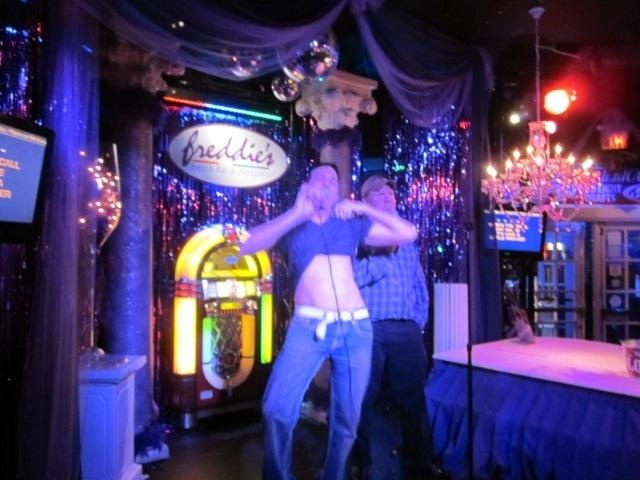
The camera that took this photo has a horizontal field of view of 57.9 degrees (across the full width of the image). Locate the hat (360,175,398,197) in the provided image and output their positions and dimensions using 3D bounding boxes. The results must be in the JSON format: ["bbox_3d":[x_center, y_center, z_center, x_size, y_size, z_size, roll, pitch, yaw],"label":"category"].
[{"bbox_3d":[0.516,-0.420,4.983,0.220,0.238,0.172,-14,-19,43],"label":"hat"}]
